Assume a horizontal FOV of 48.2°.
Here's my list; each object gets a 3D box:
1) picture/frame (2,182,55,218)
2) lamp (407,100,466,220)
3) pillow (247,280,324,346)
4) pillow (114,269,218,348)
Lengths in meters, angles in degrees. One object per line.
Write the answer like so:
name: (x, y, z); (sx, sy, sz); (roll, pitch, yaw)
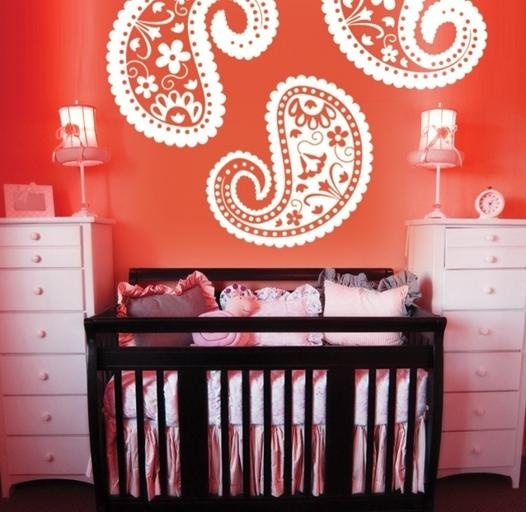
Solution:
picture/frame: (-1.070, -0.253, 2.677); (0.162, 0.150, 0.017); (-3, -1, -33)
lamp: (0.826, -0.413, 2.793); (0.233, 0.640, 0.338); (-6, -22, 20)
pillow: (0.122, 0.249, 2.716); (0.247, 0.275, 0.097); (-1, -33, 7)
pillow: (-0.426, 0.236, 2.687); (0.340, 0.316, 0.105); (1, -21, -42)
